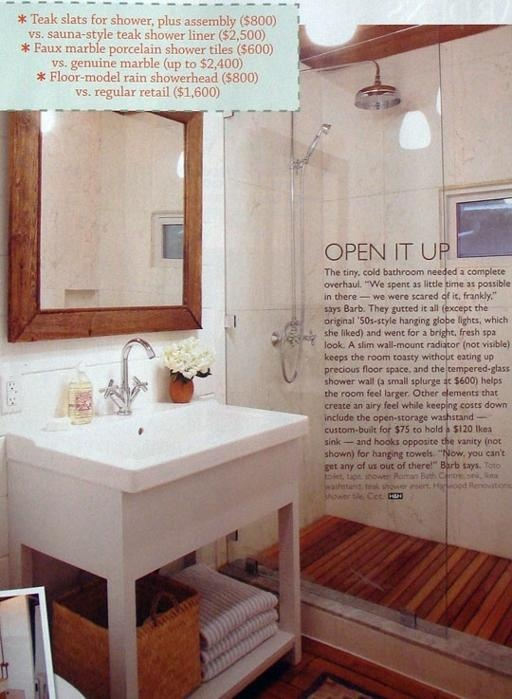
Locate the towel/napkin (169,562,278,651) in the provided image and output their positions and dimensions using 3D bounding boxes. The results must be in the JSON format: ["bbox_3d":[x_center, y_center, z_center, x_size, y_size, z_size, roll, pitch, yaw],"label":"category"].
[{"bbox_3d":[-0.097,0.758,1.797,0.243,0.077,0.252,0,2,-43],"label":"towel/napkin"}]

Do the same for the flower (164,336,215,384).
[{"bbox_3d":[-0.221,0.030,1.961,0.139,0.088,0.144,5,9,-12],"label":"flower"}]

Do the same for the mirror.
[{"bbox_3d":[-0.447,-0.363,1.733,0.039,0.865,0.770,0,0,37],"label":"mirror"}]

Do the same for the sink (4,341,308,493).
[{"bbox_3d":[-0.251,0.171,1.656,0.508,0.317,0.719,5,9,35],"label":"sink"}]
